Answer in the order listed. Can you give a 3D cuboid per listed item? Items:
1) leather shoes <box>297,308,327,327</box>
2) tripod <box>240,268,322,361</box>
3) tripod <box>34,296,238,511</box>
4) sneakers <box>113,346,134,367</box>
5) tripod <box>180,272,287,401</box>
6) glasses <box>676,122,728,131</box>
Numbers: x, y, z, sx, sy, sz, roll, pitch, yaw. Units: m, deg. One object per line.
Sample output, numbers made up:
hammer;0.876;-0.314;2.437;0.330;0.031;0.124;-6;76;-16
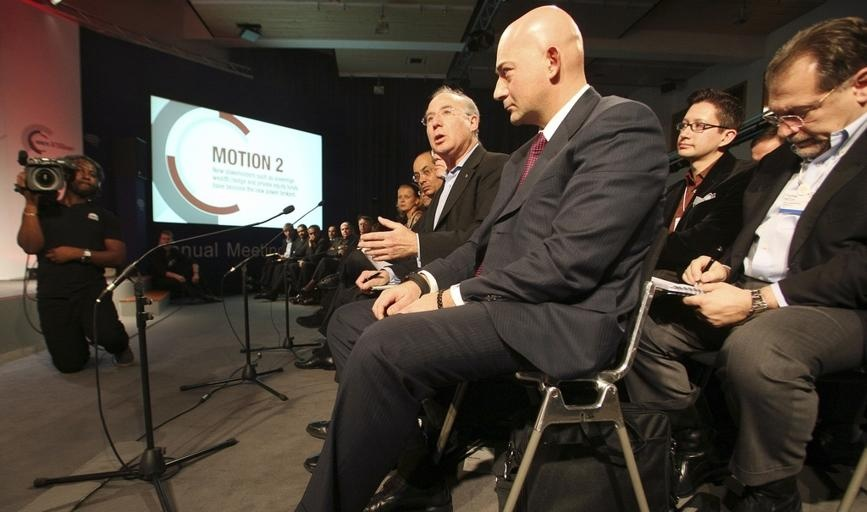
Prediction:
leather shoes;-1.580;0.791;8.443;0.559;0.219;0.218;2;-6;26
tripod;-1.611;0.624;7.605;1.018;1.189;1.112;0;-1;7
tripod;-1.967;1.092;5.631;1.844;1.708;1.482;-6;-4;-6
sneakers;-3.128;1.029;6.687;0.113;0.191;0.322;4;-25;-35
tripod;-1.856;0.744;6.634;1.173;1.309;1.310;0;-1;-8
glasses;2.350;-1.145;5.792;0.195;0.047;0.178;2;0;-15
